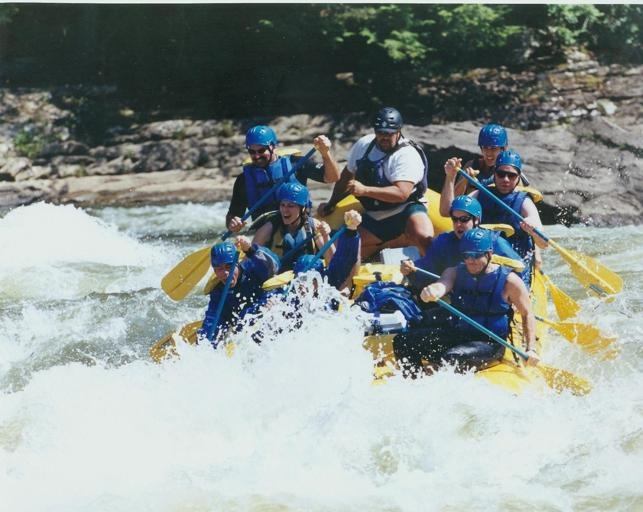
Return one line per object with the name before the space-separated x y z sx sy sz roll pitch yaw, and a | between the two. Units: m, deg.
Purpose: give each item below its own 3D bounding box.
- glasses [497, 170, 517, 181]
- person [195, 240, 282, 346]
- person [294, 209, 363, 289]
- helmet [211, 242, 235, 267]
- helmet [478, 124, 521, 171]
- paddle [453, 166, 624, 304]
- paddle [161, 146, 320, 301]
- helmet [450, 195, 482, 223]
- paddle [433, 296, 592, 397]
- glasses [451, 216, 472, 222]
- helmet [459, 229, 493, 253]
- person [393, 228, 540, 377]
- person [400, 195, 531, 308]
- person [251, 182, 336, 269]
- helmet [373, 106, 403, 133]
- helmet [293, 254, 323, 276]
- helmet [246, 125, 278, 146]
glasses | 2.014 -0.877 10.351 0.142 0.048 0.146 7 -16 5
person | -0.871 0.318 9.773 0.749 0.698 1.000 -9 16 4
person | 0.112 -0.012 9.583 0.525 0.926 0.249 27 23 23
helmet | -0.997 -0.010 9.752 0.273 0.240 0.304 -1 14 -8
helmet | 2.057 -1.262 10.920 0.367 0.556 0.485 1 9 12
paddle | 2.637 -0.199 11.452 2.326 0.426 0.090 41 -3 -21
paddle | -1.063 -0.370 11.695 0.477 3.271 0.142 49 16 23
helmet | 1.503 -0.490 9.779 0.222 0.293 0.219 -4 35 35
paddle | 1.852 0.938 9.475 1.463 0.201 0.120 35 33 3
glasses | 1.430 -0.368 9.693 0.193 0.071 0.068 3 15 10
helmet | 1.540 -0.127 9.399 0.214 0.263 0.280 -3 -13 32
person | 1.467 0.624 9.460 1.238 1.749 1.146 0 21 -6
person | 1.311 0.021 9.427 1.237 0.917 1.793 -7 16 23
person | -0.327 -0.297 10.190 0.814 1.190 0.676 4 -8 10
helmet | 0.737 -1.487 10.487 0.289 0.253 0.338 1 14 2
helmet | -0.118 0.102 9.783 0.253 0.199 0.245 -1 -10 31
helmet | -0.686 -1.343 10.704 0.296 0.241 0.235 17 -15 -40
